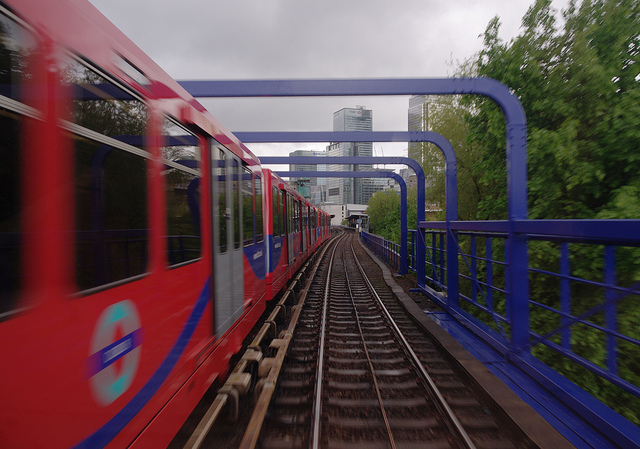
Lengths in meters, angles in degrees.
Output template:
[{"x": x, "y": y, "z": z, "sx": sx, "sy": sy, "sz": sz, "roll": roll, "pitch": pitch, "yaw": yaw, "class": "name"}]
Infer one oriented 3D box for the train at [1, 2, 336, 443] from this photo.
[{"x": -1.733, "y": 0.092, "z": 4.179, "sx": 0.604, "sy": 4.106, "sz": 2.941, "roll": 2, "pitch": 4, "yaw": 22, "class": "train"}]
